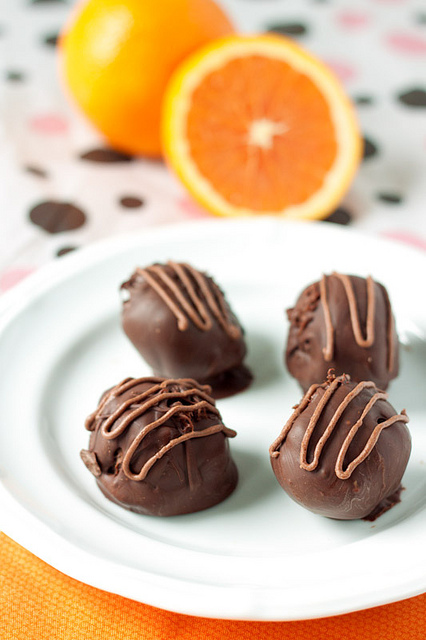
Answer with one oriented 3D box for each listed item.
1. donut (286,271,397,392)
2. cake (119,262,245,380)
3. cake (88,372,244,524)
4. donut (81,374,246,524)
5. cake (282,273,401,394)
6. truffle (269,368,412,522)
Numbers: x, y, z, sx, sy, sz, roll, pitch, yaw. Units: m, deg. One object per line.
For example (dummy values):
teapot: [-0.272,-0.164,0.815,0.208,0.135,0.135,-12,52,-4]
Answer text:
donut: [0.276,0.033,1.346,0.227,0.270,0.275,-4,-2,-13]
cake: [-0.068,0.003,1.372,0.221,0.241,0.258,10,35,32]
cake: [-0.083,0.219,1.083,0.264,0.169,0.248,-13,33,-15]
donut: [-0.099,0.209,1.136,0.330,0.178,0.265,2,16,-13]
cake: [0.254,0.041,1.337,0.218,0.267,0.263,0,51,14]
truffle: [0.228,0.216,1.039,0.197,0.213,0.234,-3,32,46]
